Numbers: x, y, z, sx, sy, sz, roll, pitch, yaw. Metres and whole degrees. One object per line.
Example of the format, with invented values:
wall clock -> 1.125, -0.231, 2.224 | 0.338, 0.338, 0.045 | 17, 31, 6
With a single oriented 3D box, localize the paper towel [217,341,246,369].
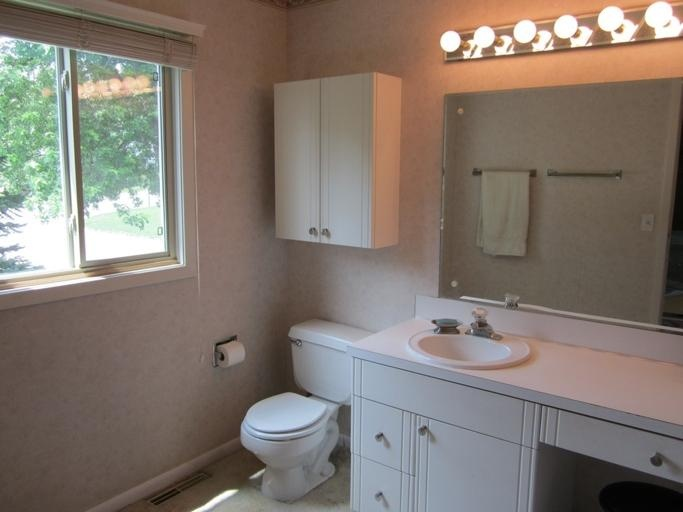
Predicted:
paper towel -> -0.641, 0.600, 3.306 | 0.152, 0.145, 0.184 | -3, 1, 27

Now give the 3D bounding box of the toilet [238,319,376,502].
toilet -> -0.259, 0.927, 3.153 | 0.506, 0.840, 0.859 | 8, 11, 34

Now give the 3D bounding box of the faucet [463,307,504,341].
faucet -> 0.702, 0.335, 2.763 | 0.228, 0.164, 0.111 | -1, -3, 33

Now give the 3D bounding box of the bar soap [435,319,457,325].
bar soap -> 0.535, 0.339, 2.783 | 0.051, 0.011, 0.053 | 1, 10, -1

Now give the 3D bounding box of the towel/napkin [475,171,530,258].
towel/napkin -> 0.844, -0.214, 2.781 | 0.302, 0.398, 0.104 | 6, 11, 29

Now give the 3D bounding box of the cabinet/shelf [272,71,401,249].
cabinet/shelf -> -0.004, -0.550, 3.052 | 0.902, 1.166, 0.396 | 5, 9, 34
